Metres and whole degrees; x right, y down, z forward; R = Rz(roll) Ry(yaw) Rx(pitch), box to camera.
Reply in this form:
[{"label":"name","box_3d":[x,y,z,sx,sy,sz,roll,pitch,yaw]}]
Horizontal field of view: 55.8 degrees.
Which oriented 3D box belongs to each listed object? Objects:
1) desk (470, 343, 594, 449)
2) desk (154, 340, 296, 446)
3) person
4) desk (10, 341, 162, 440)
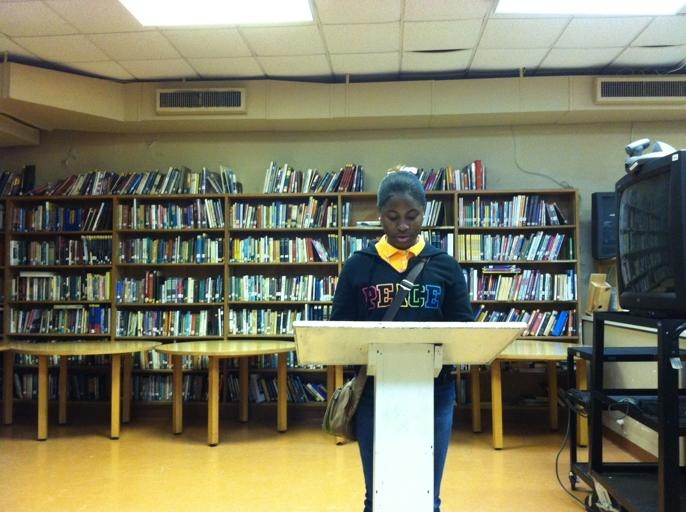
[{"label":"desk","box_3d":[1.635,1.055,5.584,0.908,0.811,1.124,-1,-3,2]},{"label":"desk","box_3d":[-1.006,1.062,5.807,0.993,0.636,1.010,1,-2,-35]},{"label":"person","box_3d":[0.296,0.422,3.306,0.727,1.707,0.470,1,5,10]},{"label":"desk","box_3d":[-2.520,1.051,5.836,1.012,0.540,1.068,1,-3,-11]}]
